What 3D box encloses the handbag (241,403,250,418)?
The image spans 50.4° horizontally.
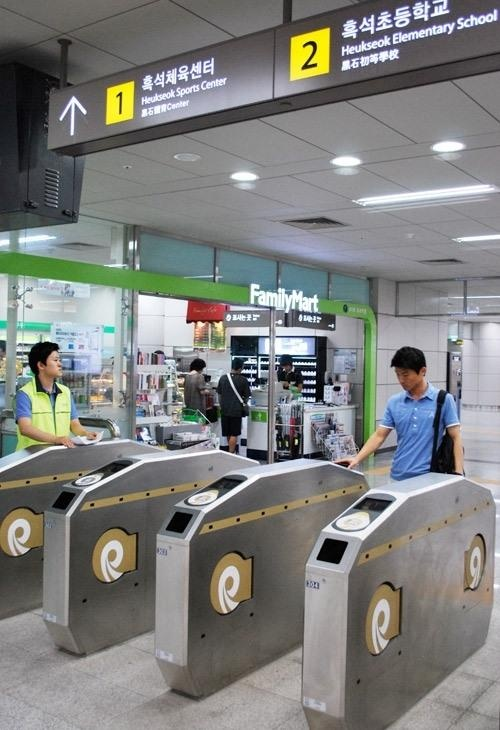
[{"bbox_3d":[-0.058,0.773,9.123,0.157,0.294,0.291,-1,-2,17],"label":"handbag"}]

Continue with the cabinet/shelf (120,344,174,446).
[{"bbox_3d":[-1.434,0.449,7.261,0.433,1.291,1.287,0,-2,12],"label":"cabinet/shelf"}]

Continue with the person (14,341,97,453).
[{"bbox_3d":[-1.385,0.222,3.711,0.478,0.742,0.560,2,-2,-25],"label":"person"}]

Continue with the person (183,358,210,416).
[{"bbox_3d":[-0.972,0.370,9.328,0.341,0.949,0.456,1,-2,-13],"label":"person"}]

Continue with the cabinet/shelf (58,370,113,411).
[{"bbox_3d":[-2.054,0.285,6.361,0.446,0.384,0.674,-3,-2,27],"label":"cabinet/shelf"}]

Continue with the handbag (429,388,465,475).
[{"bbox_3d":[1.126,0.382,3.090,0.141,0.466,0.071,0,-2,20],"label":"handbag"}]

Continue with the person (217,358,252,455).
[{"bbox_3d":[-0.266,0.694,9.102,0.513,1.625,0.565,2,-2,-26],"label":"person"}]

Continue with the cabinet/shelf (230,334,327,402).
[{"bbox_3d":[0.742,0.074,11.528,1.443,1.459,0.484,1,-8,25],"label":"cabinet/shelf"}]

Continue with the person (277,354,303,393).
[{"bbox_3d":[0.798,0.195,10.831,0.479,0.774,1.203,0,-2,3],"label":"person"}]
